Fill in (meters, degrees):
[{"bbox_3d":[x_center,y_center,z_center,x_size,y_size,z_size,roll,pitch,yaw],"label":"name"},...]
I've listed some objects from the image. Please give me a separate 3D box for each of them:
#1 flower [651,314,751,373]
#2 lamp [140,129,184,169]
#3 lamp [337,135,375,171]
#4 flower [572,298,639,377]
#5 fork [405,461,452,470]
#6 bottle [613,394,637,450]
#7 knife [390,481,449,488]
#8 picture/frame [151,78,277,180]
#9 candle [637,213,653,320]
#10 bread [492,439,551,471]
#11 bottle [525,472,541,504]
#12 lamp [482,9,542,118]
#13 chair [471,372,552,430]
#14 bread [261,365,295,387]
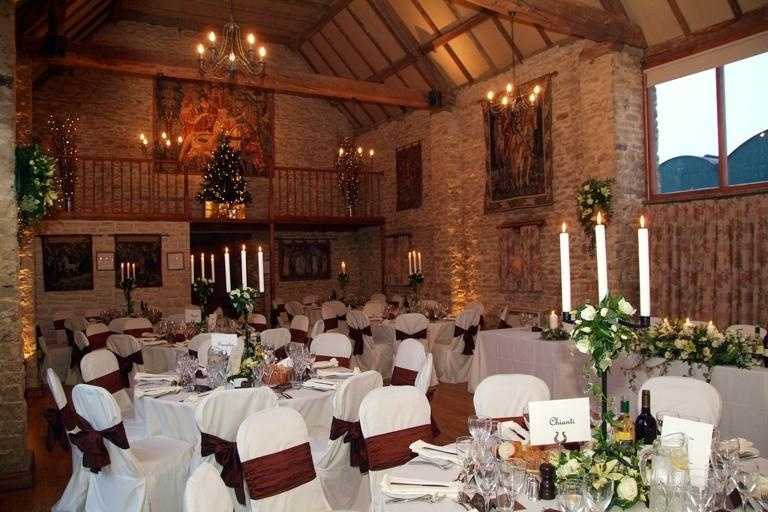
[{"bbox_3d":[3.551,0.995,6.101,0.743,0.404,0.786,10,-11,-26],"label":"flower"},{"bbox_3d":[-5.234,-2.728,13.717,0.686,0.739,0.360,5,29,22],"label":"lamp"},{"bbox_3d":[-0.836,-2.343,13.266,0.594,0.637,0.616,0,14,2],"label":"lamp"},{"bbox_3d":[1.704,0.690,4.252,0.528,0.670,0.550,-12,-11,22],"label":"flower"},{"bbox_3d":[0.358,1.665,4.531,0.298,0.046,0.050,-1,39,24],"label":"fork"},{"bbox_3d":[1.797,1.228,4.300,0.147,0.337,0.380,-2,-2,23],"label":"bottle"},{"bbox_3d":[0.254,1.696,4.245,0.428,0.027,0.024,-2,-2,4],"label":"knife"},{"bbox_3d":[-4.217,-3.049,13.642,2.750,2.127,0.105,1,-3,-31],"label":"picture/frame"},{"bbox_3d":[1.865,0.080,4.109,0.078,0.744,0.078,0,-5,-6],"label":"candle"},{"bbox_3d":[1.045,1.492,4.305,0.230,0.093,0.293,-1,3,-36],"label":"bread"},{"bbox_3d":[1.070,1.681,4.152,0.102,0.180,0.077,-2,-1,15],"label":"bottle"},{"bbox_3d":[2.364,-3.473,10.836,0.548,1.563,1.250,-1,-2,-24],"label":"lamp"},{"bbox_3d":[1.149,1.282,5.212,0.455,0.629,0.465,-1,-3,0],"label":"chair"},{"bbox_3d":[-1.112,1.239,5.885,0.217,0.099,0.248,1,1,-3],"label":"bread"}]
